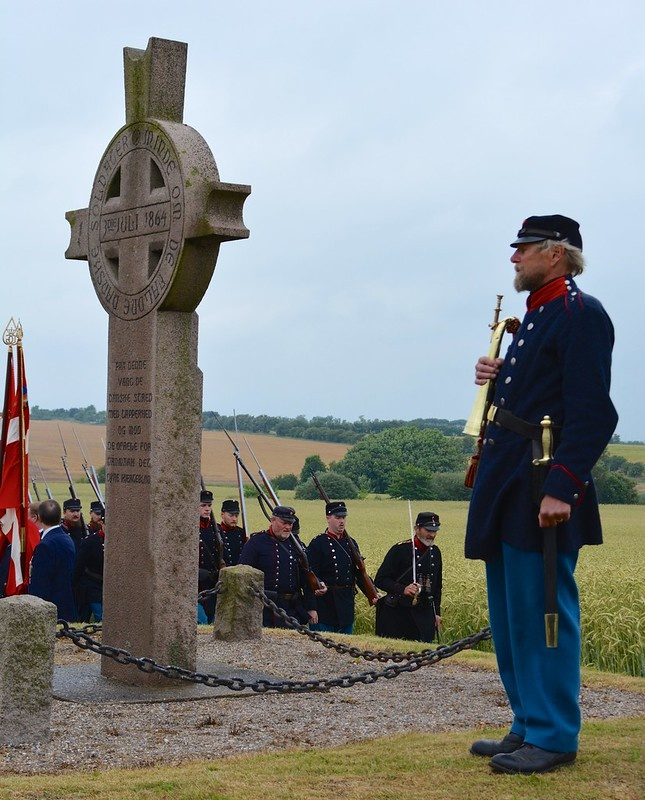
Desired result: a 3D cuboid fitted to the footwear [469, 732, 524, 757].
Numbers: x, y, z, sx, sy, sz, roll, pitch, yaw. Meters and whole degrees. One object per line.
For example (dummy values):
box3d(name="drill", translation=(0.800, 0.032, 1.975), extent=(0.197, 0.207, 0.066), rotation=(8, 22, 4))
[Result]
box3d(name="footwear", translation=(0.798, 1.598, 7.152), extent=(0.272, 0.107, 0.097), rotation=(0, -11, 5))

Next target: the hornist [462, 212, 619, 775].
box3d(name="hornist", translation=(0.993, 0.409, 7.279), extent=(0.678, 2.555, 1.000), rotation=(1, -2, -7))

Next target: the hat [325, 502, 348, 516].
box3d(name="hat", translation=(0.130, 1.049, 14.908), extent=(0.154, 0.108, 0.195), rotation=(1, -3, -17))

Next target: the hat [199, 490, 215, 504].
box3d(name="hat", translation=(-1.156, 0.962, 15.361), extent=(0.210, 0.113, 0.274), rotation=(1, -5, -15))

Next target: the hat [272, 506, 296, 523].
box3d(name="hat", translation=(-0.373, 1.010, 14.044), extent=(0.152, 0.078, 0.199), rotation=(14, 6, -33))

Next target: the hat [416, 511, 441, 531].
box3d(name="hat", translation=(0.938, 1.084, 13.915), extent=(0.160, 0.106, 0.200), rotation=(3, -8, -20))
